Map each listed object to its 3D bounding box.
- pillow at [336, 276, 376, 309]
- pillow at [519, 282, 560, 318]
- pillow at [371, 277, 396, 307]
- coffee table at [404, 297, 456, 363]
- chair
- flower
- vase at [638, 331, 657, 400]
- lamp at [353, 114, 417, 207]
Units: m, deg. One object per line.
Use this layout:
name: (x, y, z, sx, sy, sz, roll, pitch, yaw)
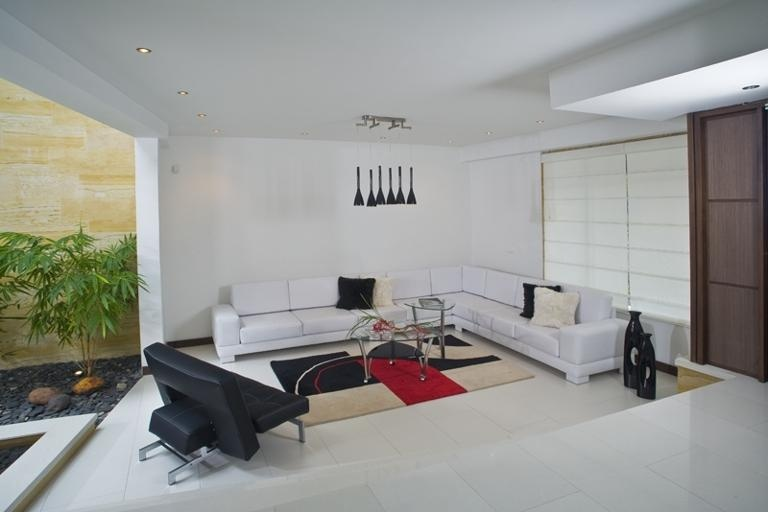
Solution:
pillow: (-0.455, 0.620, 7.846, 0.538, 0.506, 0.211, -2, -1, 0)
pillow: (2.243, 0.647, 6.837, 0.193, 0.481, 0.519, 6, -4, -30)
pillow: (-0.015, 0.605, 7.781, 0.423, 0.405, 0.193, 2, -8, -14)
coffee table: (0.792, 1.135, 7.400, 0.756, 0.766, 0.767, 11, -6, -35)
chair: (-1.772, 1.541, 5.005, 1.548, 0.985, 1.360, 4, 5, 38)
flower: (0.054, 0.822, 7.776, 1.556, 0.488, 1.073, 12, -22, -4)
vase: (3.058, 1.308, 5.587, 0.198, 0.741, 0.206, -2, 5, 12)
lamp: (0.017, -1.298, 6.565, 0.978, 1.194, 0.393, -5, 11, -27)
